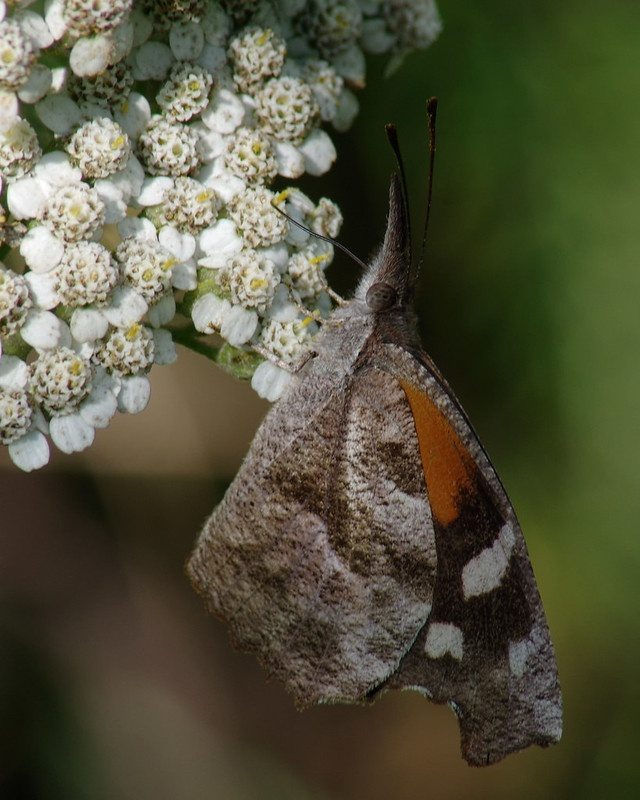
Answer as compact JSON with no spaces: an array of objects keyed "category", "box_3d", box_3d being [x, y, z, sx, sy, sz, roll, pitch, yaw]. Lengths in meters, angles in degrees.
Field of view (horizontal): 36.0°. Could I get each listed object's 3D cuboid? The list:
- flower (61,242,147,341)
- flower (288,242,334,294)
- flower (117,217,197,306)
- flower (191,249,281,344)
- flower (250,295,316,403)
[{"category":"flower","box_3d":[-0.315,-0.162,1.344,0.107,0.065,0.134,-24,4,11]},{"category":"flower","box_3d":[-0.002,-0.191,1.526,0.031,0.074,0.071,43,-15,-21]},{"category":"flower","box_3d":[-0.233,-0.182,1.397,0.094,0.126,0.055,-29,13,-24]},{"category":"flower","box_3d":[-0.116,-0.145,1.406,0.104,0.136,0.057,36,-1,-8]},{"category":"flower","box_3d":[-0.051,-0.045,1.505,0.035,0.102,0.105,41,24,27]}]
